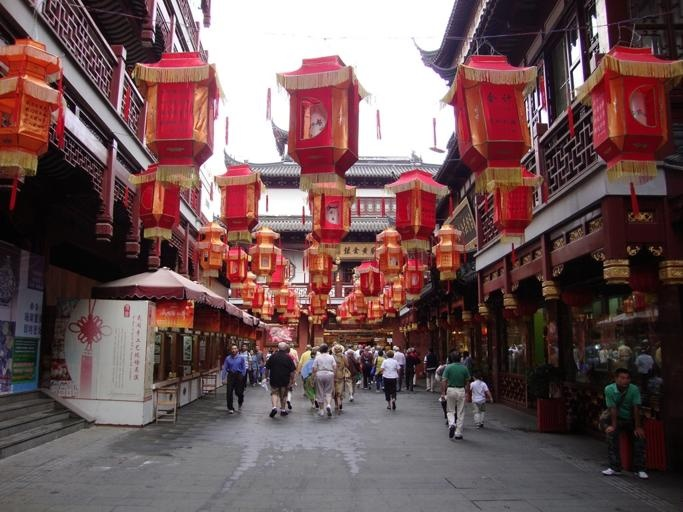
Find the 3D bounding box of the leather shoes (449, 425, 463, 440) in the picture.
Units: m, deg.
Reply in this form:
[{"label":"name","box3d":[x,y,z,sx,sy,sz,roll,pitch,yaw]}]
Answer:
[{"label":"leather shoes","box3d":[2.480,3.790,12.022,0.286,0.296,0.253,0,-6,9]}]

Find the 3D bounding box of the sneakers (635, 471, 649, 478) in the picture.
[{"label":"sneakers","box3d":[4.959,3.581,9.139,0.071,0.092,0.216,-2,3,6]}]

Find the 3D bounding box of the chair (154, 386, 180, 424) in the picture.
[{"label":"chair","box3d":[-4.350,3.686,13.791,0.508,0.895,0.629,4,-7,-31]}]

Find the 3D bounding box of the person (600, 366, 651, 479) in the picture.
[{"label":"person","box3d":[4.757,2.789,9.360,0.645,1.765,0.336,3,-6,-17]}]

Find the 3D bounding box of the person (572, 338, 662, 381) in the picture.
[{"label":"person","box3d":[5.770,2.145,11.542,0.953,0.747,1.910,3,-12,-10]}]

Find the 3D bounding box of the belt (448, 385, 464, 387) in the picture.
[{"label":"belt","box3d":[2.530,2.885,12.242,0.316,0.042,0.117,1,-7,3]}]

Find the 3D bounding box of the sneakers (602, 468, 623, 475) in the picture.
[{"label":"sneakers","box3d":[4.564,3.632,9.371,0.274,0.140,0.109,1,-6,9]}]

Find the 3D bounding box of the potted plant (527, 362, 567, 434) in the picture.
[{"label":"potted plant","box3d":[4.851,3.312,13.028,0.830,1.509,0.677,-1,-6,17]}]

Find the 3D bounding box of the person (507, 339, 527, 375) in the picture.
[{"label":"person","box3d":[5.458,3.171,17.256,0.665,1.443,0.731,0,-8,5]}]

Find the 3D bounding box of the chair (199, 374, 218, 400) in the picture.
[{"label":"chair","box3d":[-4.851,4.679,20.482,0.454,0.847,2.383,2,-7,-8]}]
